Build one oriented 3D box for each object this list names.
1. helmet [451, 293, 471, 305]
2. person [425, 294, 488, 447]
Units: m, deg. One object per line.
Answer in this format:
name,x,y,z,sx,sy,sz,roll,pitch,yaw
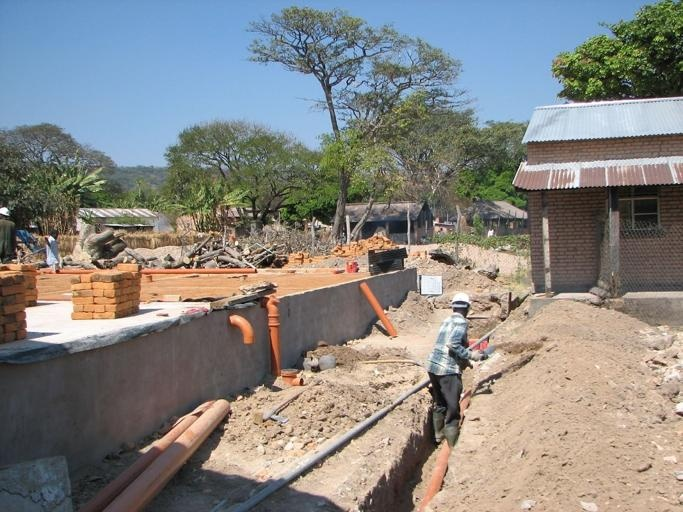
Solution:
helmet,1.851,0.656,8.393,0.292,0.205,0.414,0,-22,14
person,1.723,1.755,8.382,0.761,2.353,1.393,-3,1,11
